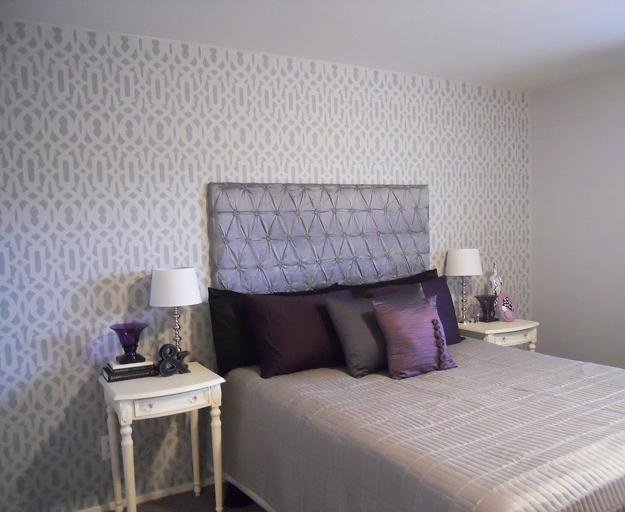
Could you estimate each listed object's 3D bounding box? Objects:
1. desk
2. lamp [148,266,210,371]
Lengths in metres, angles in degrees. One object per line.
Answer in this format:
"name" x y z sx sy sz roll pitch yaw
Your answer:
"desk" -0.858 0.885 2.799 0.619 0.459 0.426 -3 7 -28
"lamp" -0.836 0.380 2.993 0.289 0.636 0.412 -2 7 -19
